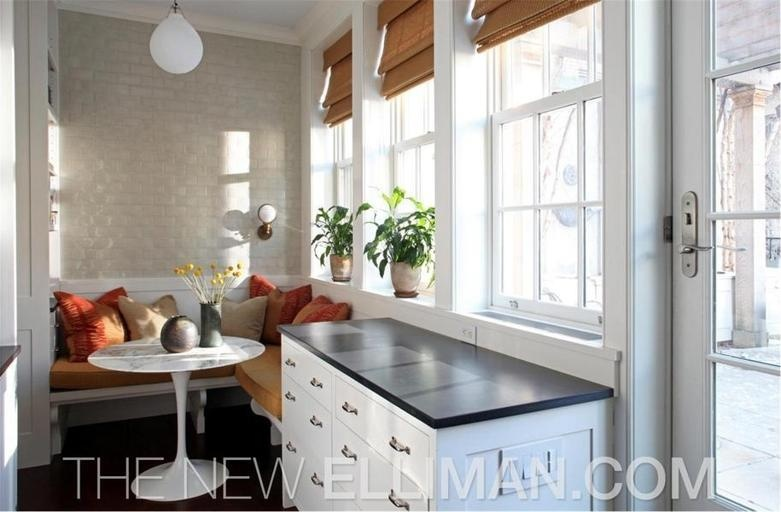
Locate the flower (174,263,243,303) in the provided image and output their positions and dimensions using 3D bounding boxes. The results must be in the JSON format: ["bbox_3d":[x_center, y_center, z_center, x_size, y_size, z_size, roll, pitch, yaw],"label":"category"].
[{"bbox_3d":[-1.491,0.196,4.377,0.514,0.346,0.527,-3,-3,-9],"label":"flower"}]

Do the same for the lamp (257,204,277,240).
[{"bbox_3d":[-1.175,-0.328,5.178,0.210,0.348,0.142,-4,9,-24],"label":"lamp"}]

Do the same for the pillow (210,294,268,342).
[{"bbox_3d":[-1.247,0.520,4.450,0.477,0.377,0.200,-3,10,2],"label":"pillow"}]

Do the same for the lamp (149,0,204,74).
[{"bbox_3d":[-1.539,-1.575,3.867,0.226,0.475,0.267,7,11,39],"label":"lamp"}]

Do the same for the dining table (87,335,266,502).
[{"bbox_3d":[-1.437,1.098,3.713,1.095,0.872,1.147,-1,-1,-36],"label":"dining table"}]

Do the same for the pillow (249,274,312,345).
[{"bbox_3d":[-0.941,0.456,4.549,0.603,0.542,0.322,-3,-4,28],"label":"pillow"}]

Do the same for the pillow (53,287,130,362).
[{"bbox_3d":[-2.296,0.540,4.119,0.252,0.440,0.517,-3,6,36],"label":"pillow"}]
